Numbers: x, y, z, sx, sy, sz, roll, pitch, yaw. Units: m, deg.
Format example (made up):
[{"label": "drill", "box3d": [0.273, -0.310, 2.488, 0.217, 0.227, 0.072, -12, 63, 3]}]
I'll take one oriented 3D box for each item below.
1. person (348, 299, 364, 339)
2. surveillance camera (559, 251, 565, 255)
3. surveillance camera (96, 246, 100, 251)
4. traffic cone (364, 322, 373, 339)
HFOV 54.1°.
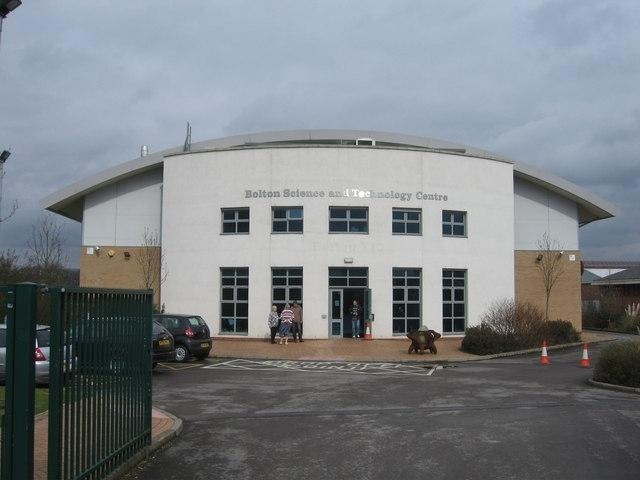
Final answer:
[{"label": "person", "box3d": [1.788, 3.913, 31.191, 0.591, 1.851, 0.430, 0, -7, 0]}, {"label": "surveillance camera", "box3d": [14.517, 0.805, 37.700, 0.350, 0.201, 0.061, 5, -9, -31]}, {"label": "surveillance camera", "box3d": [-12.697, 0.511, 35.825, 0.140, 0.274, 0.289, -6, -10, 36]}, {"label": "traffic cone", "box3d": [2.332, 4.422, 30.508, 0.329, 0.871, 0.647, -2, -8, 10]}]
